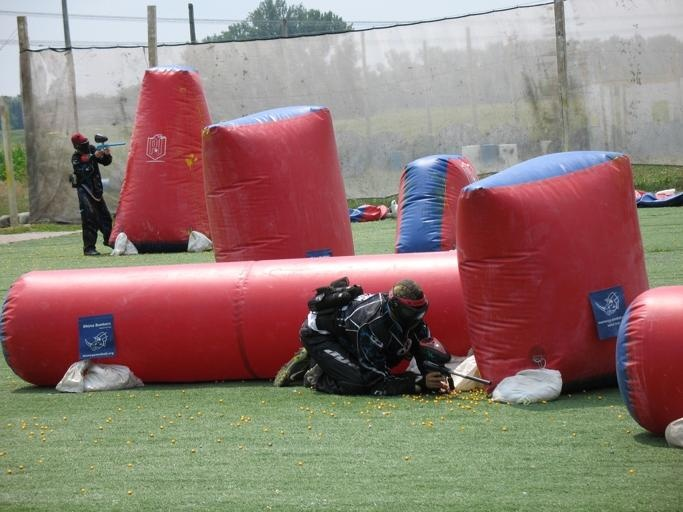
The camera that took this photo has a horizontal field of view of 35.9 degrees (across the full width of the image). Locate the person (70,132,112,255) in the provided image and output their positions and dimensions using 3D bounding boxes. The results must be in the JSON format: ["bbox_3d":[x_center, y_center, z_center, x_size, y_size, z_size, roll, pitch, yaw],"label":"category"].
[{"bbox_3d":[-3.196,-0.831,13.645,0.535,1.569,0.891,-5,4,-13],"label":"person"}]

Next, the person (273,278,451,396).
[{"bbox_3d":[0.178,0.626,8.080,1.290,0.902,0.844,5,16,33],"label":"person"}]

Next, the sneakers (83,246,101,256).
[{"bbox_3d":[-3.129,-0.063,13.308,0.266,0.111,0.093,-4,-1,38],"label":"sneakers"}]

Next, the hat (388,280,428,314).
[{"bbox_3d":[0.490,0.298,7.694,0.234,0.212,0.242,23,36,24],"label":"hat"}]

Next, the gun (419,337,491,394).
[{"bbox_3d":[0.828,0.839,7.782,0.639,0.378,0.067,15,22,41],"label":"gun"}]
